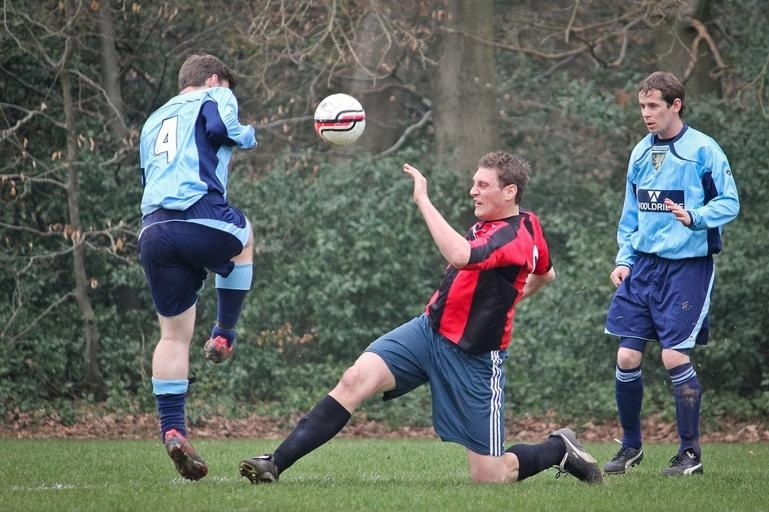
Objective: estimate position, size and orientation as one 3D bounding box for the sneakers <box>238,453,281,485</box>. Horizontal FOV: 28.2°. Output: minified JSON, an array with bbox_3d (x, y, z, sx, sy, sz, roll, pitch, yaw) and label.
[{"bbox_3d":[-1.206,2.080,15.012,0.359,0.215,0.221,11,39,9],"label":"sneakers"}]
